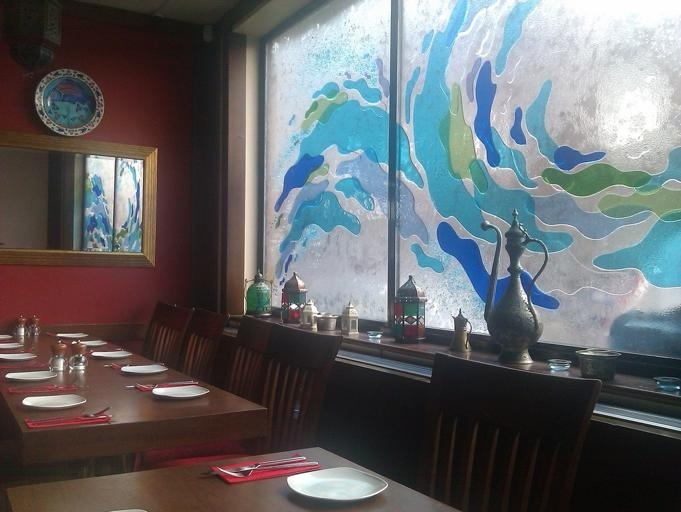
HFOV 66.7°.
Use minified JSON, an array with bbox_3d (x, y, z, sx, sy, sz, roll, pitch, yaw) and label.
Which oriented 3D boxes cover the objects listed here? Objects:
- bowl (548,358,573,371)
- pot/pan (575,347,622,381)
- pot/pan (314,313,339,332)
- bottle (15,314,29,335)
[{"bbox_3d":[0.863,0.426,2.026,0.070,0.032,0.064,-1,-5,0],"label":"bowl"},{"bbox_3d":[0.962,0.399,1.932,0.118,0.086,0.126,1,-7,-6],"label":"pot/pan"},{"bbox_3d":[-0.088,0.421,3.213,0.090,0.070,0.119,3,-16,-16],"label":"pot/pan"},{"bbox_3d":[-2.347,0.512,3.807,0.087,0.158,0.091,2,0,0],"label":"bottle"}]
